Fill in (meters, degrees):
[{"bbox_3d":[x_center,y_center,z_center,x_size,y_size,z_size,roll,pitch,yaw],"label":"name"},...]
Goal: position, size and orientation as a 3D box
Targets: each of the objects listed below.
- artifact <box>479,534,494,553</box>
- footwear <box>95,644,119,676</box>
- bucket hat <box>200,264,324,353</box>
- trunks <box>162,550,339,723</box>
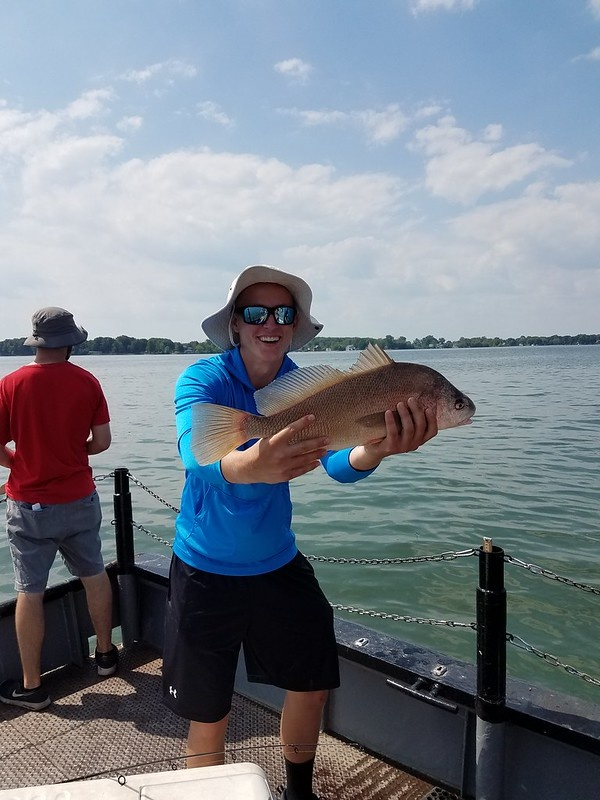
[{"bbox_3d":[0.724,0.557,2.411,0.038,0.054,0.081,3,3,17],"label":"artifact"},{"bbox_3d":[-1.202,1.624,3.864,0.088,0.091,0.219,0,-4,-11],"label":"footwear"},{"bbox_3d":[-0.135,-0.449,2.854,0.689,0.338,0.695,6,13,-6],"label":"bucket hat"},{"bbox_3d":[-0.205,0.930,2.502,0.656,0.553,0.302,1,3,-20],"label":"trunks"}]
